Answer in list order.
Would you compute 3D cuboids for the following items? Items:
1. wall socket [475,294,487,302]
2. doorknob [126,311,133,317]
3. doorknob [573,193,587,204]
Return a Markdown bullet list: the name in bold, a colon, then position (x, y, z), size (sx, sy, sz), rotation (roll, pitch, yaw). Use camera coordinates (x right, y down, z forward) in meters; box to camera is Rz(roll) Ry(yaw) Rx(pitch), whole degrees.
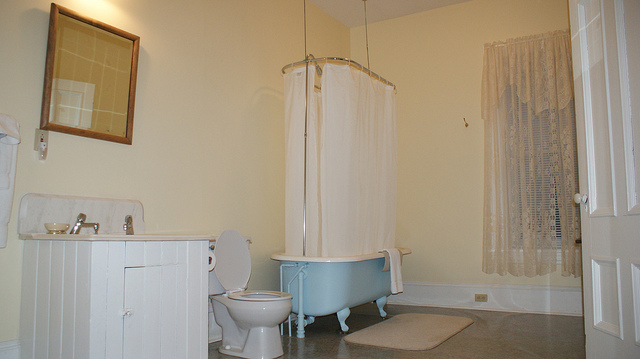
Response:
- **wall socket**: position (2.059, 1.514, 5.800), size (0.114, 0.065, 0.011), rotation (-1, -6, 23)
- **doorknob**: position (-1.470, 1.032, 3.478), size (0.026, 0.028, 0.032), rotation (10, -23, -42)
- **doorknob**: position (2.198, 0.152, 3.833), size (0.053, 0.090, 0.093), rotation (9, -25, -27)
